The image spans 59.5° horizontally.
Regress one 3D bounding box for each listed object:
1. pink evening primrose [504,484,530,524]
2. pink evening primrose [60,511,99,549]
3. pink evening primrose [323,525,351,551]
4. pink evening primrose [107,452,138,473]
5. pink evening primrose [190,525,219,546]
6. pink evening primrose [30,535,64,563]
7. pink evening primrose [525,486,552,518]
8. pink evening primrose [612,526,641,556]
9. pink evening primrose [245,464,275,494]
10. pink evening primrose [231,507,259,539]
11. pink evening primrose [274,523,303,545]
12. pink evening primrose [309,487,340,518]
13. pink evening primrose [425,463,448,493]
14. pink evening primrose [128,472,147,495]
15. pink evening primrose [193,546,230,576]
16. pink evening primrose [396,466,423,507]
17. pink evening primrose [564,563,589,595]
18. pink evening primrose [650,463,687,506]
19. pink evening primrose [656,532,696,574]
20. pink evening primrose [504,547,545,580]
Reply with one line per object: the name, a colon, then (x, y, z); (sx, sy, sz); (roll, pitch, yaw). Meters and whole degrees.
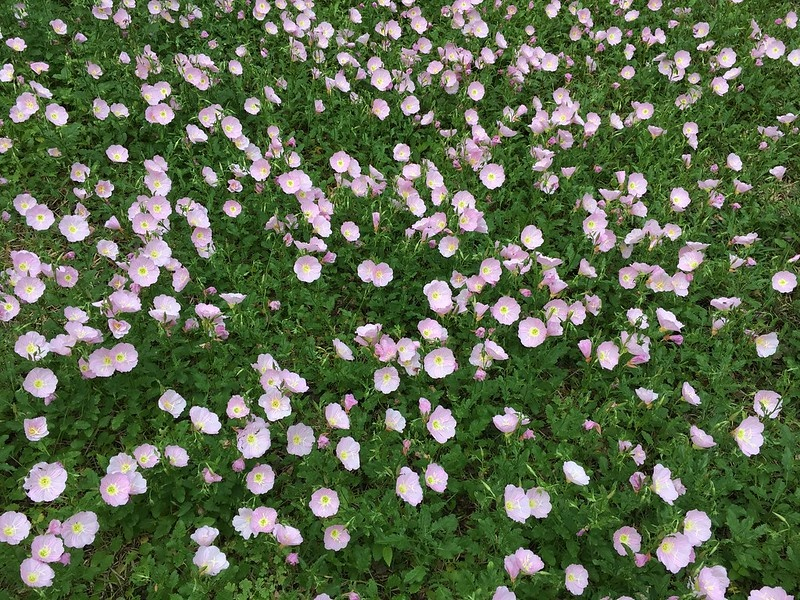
pink evening primrose: (0.743, 1.298, 4.449); (0.165, 0.185, 0.223); (-6, 65, -17)
pink evening primrose: (-1.999, 1.440, 4.390); (0.198, 0.093, 0.236); (12, 70, -21)
pink evening primrose: (-0.402, 1.509, 4.467); (0.153, 0.133, 0.137); (-3, 64, -16)
pink evening primrose: (-1.785, 1.061, 4.515); (0.178, 0.095, 0.129); (6, 62, -12)
pink evening primrose: (-1.213, 1.455, 4.371); (0.138, 0.134, 0.079); (-3, 108, -30)
pink evening primrose: (-2.173, 1.537, 4.329); (0.176, 0.075, 0.161); (-3, 65, -17)
pink evening primrose: (0.881, 1.286, 4.444); (0.176, 0.097, 0.213); (4, 77, 18)
pink evening primrose: (1.439, 1.531, 4.458); (0.156, 0.067, 0.187); (-4, 74, 0)
pink evening primrose: (-0.919, 1.192, 4.630); (0.181, 0.165, 0.157); (-14, 67, -20)
pink evening primrose: (-0.995, 1.427, 4.527); (0.158, 0.074, 0.191); (-12, 85, 6)
pink evening primrose: (-0.702, 1.495, 4.399); (0.139, 0.065, 0.146); (14, 34, -6)
pink evening primrose: (-0.487, 1.322, 4.559); (0.191, 0.122, 0.164); (17, 61, -6)
pink evening primrose: (0.236, 1.167, 4.608); (0.158, 0.099, 0.153); (26, 60, -1)
pink evening primrose: (-1.677, 1.166, 4.486); (0.101, 0.084, 0.142); (-13, 68, -20)
pink evening primrose: (-1.165, 1.608, 4.320); (0.180, 0.086, 0.201); (33, 40, -31)
pink evening primrose: (0.034, 1.220, 4.586); (0.209, 0.096, 0.225); (-25, 84, -28)
pink evening primrose: (1.094, 1.733, 4.351); (0.154, 0.076, 0.184); (1, 79, -13)
pink evening primrose: (1.685, 1.174, 4.514); (0.240, 0.108, 0.257); (-24, 86, -40)
pink evening primrose: (1.708, 1.566, 4.312); (0.212, 0.103, 0.257); (-2, 83, 0)
pink evening primrose: (0.752, 1.595, 4.242); (0.193, 0.108, 0.196); (-1, 26, -9)
